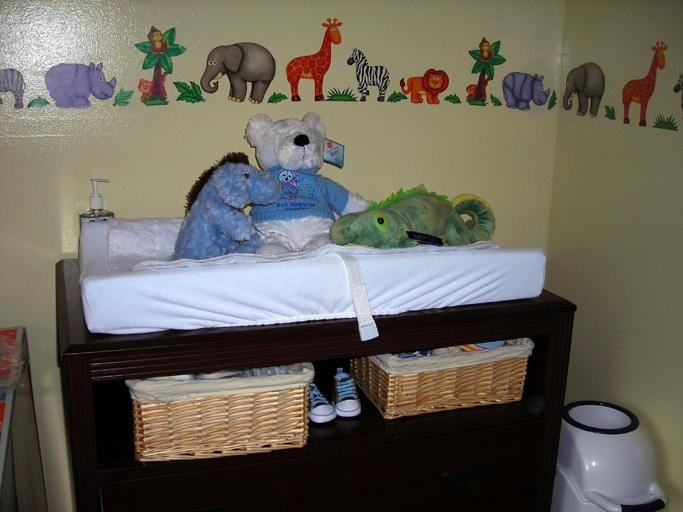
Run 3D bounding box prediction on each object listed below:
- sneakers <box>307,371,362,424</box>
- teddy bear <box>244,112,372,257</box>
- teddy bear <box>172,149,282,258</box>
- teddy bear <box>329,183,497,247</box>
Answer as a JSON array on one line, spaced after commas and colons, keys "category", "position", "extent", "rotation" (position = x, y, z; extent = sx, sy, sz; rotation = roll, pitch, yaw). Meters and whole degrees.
[{"category": "sneakers", "position": [-0.020, 0.448, 1.772], "extent": [0.152, 0.092, 0.256], "rotation": [-6, -5, -8]}, {"category": "teddy bear", "position": [-0.123, -0.231, 1.811], "extent": [0.491, 0.476, 0.315], "rotation": [-6, 6, -28]}, {"category": "teddy bear", "position": [-0.336, -0.149, 1.710], "extent": [0.342, 0.251, 0.239], "rotation": [-26, 39, -20]}, {"category": "teddy bear", "position": [0.230, -0.095, 1.761], "extent": [0.576, 0.226, 0.203], "rotation": [1, 0, -16]}]
